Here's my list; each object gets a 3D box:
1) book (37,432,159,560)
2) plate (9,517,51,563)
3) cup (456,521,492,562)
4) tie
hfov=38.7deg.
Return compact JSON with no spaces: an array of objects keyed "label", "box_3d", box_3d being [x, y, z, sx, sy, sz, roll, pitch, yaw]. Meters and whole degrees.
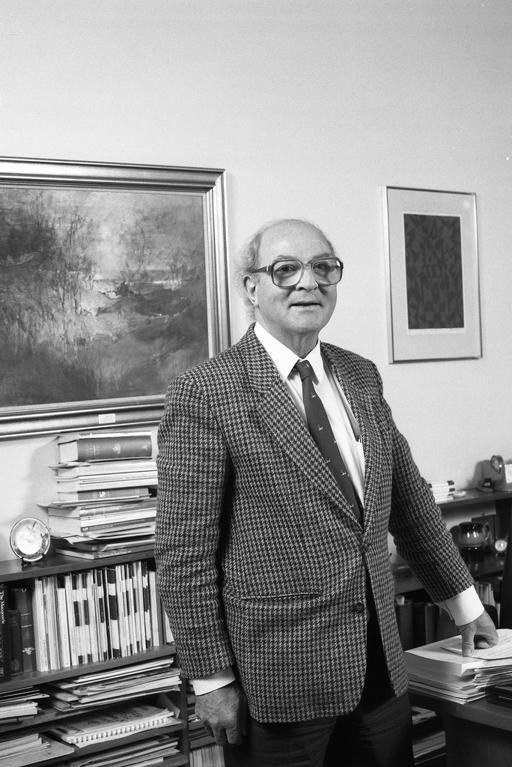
[{"label":"book","box_3d":[-0.483,0.286,2.351,0.445,0.413,0.380,-3,1,-40]},{"label":"plate","box_3d":[-0.672,0.467,2.162,0.125,0.119,0.036,5,-21,-33]},{"label":"cup","box_3d":[0.895,0.660,3.023,0.140,0.171,0.163,-2,-15,6]},{"label":"tie","box_3d":[0.107,0.093,1.295,0.060,0.330,0.021,3,-40,-27]}]
